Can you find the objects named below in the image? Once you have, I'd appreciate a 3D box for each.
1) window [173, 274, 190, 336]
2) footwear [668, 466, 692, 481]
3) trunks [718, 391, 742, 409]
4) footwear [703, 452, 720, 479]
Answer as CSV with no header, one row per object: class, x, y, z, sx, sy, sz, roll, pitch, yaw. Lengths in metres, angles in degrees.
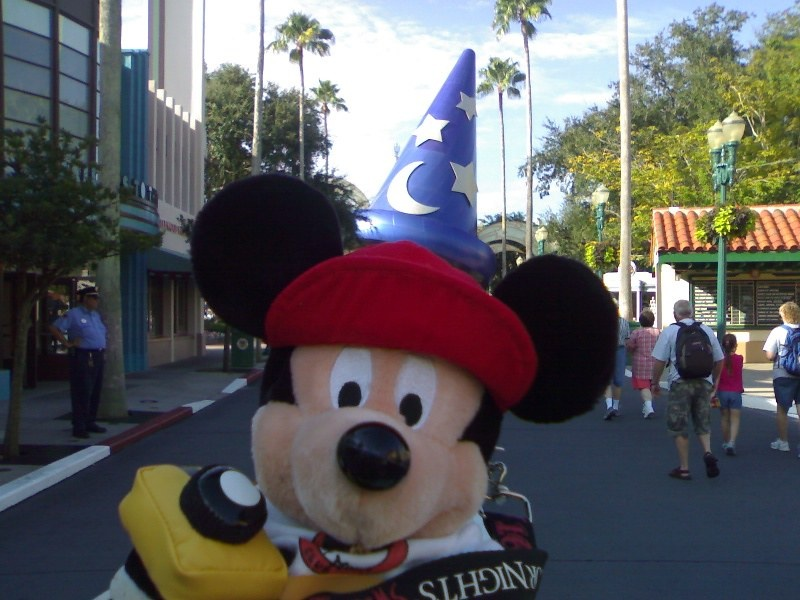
window,-7.230,0.211,27.195,0.124,2.035,2.619,-4,0,-16
footwear,3.042,1.892,9.030,0.099,0.106,0.229,1,1,-17
trunks,4.052,1.232,10.218,0.303,0.248,0.195,-1,-3,25
footwear,3.402,1.790,9.023,0.140,0.346,0.154,-14,-7,-1
